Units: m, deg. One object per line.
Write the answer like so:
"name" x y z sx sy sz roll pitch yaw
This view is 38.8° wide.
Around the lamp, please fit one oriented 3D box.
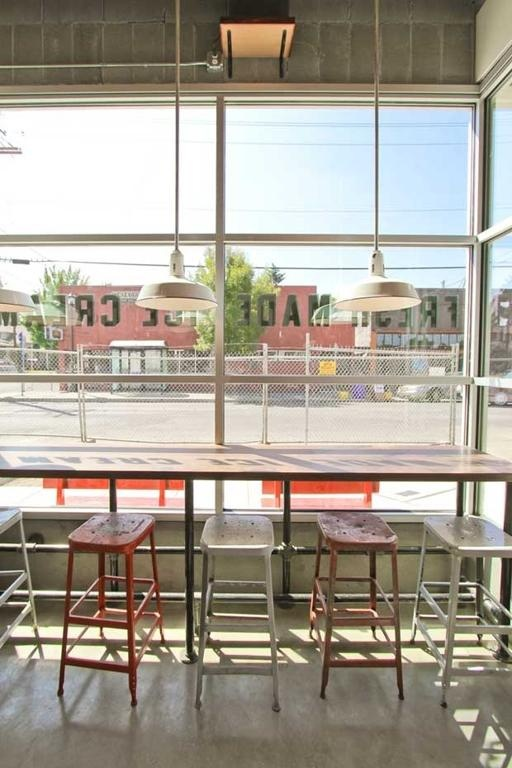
"lamp" 0.108 -1.017 3.213 1.225 1.422 0.824 1 10 13
